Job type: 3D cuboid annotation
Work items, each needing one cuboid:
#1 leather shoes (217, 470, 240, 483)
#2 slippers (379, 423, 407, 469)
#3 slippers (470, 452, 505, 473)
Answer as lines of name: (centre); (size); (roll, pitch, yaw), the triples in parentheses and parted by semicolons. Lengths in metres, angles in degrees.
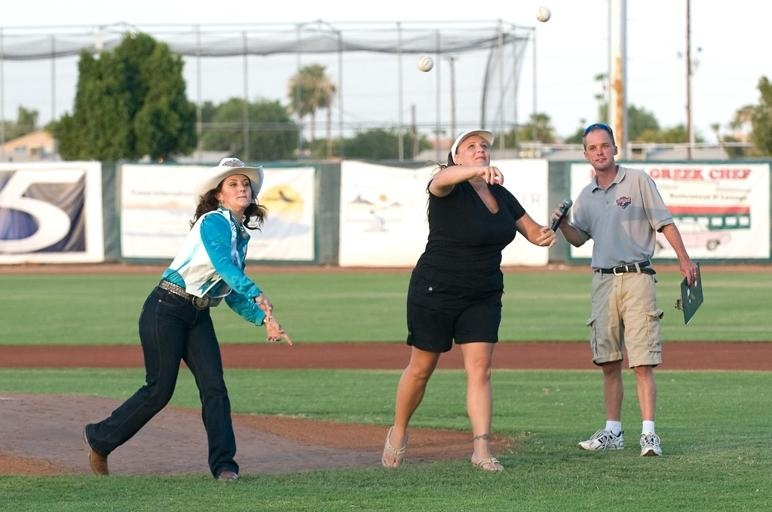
leather shoes: (-2.318, 3.184, 26.174); (0.356, 0.243, 0.119); (6, -7, -4)
slippers: (0.110, 2.799, 26.714); (0.308, 0.638, 0.247); (4, -2, -18)
slippers: (1.521, 3.018, 26.374); (0.432, 0.158, 0.220); (-3, -3, 36)
